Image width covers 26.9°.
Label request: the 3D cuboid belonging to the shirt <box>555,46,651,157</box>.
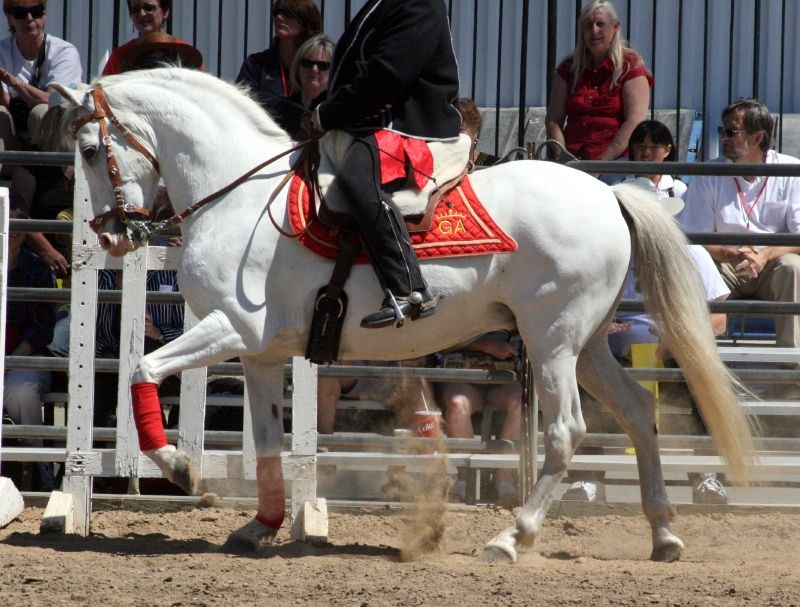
[{"bbox_3d":[1.499,-1.474,12.397,0.917,0.864,0.506,4,-2,31],"label":"shirt"}]

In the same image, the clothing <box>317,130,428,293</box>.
[{"bbox_3d":[-0.082,-0.475,9.954,0.324,1.092,0.332,-23,6,7],"label":"clothing"}]

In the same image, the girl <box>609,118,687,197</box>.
[{"bbox_3d":[1.829,-1.043,12.117,0.434,0.632,0.398,-2,10,-6],"label":"girl"}]

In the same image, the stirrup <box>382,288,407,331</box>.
[{"bbox_3d":[-0.021,0.026,9.867,0.139,0.214,0.108,2,3,34],"label":"stirrup"}]

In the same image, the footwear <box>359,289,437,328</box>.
[{"bbox_3d":[0.007,0.014,9.936,0.481,0.232,0.185,-12,27,-9],"label":"footwear"}]

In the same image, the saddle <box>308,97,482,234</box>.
[{"bbox_3d":[0.131,-0.987,10.571,1.019,0.354,1.097,17,12,31],"label":"saddle"}]
